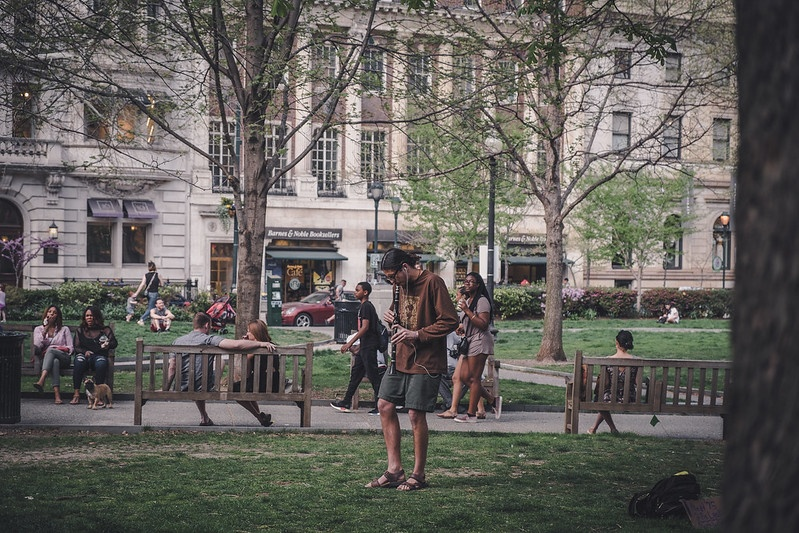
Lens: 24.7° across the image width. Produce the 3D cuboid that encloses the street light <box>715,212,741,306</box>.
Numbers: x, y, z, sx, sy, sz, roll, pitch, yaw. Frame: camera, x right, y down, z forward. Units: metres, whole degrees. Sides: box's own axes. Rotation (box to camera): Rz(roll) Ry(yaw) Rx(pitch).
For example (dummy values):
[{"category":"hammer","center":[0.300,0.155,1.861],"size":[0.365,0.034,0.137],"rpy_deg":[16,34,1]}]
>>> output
[{"category":"street light","center":[14.502,0.112,81.346],"size":[0.963,5.181,0.998],"rpy_deg":[-4,0,-19]}]

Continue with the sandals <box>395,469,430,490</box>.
[{"category":"sandals","center":[0.358,5.724,48.211],"size":[0.767,0.309,0.369],"rpy_deg":[4,-7,-14]}]

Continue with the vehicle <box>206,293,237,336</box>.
[{"category":"vehicle","center":[-6.341,1.775,64.770],"size":[0.829,0.976,1.545],"rpy_deg":[-6,21,40]}]

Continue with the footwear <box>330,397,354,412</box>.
[{"category":"footwear","center":[-1.737,4.089,53.498],"size":[0.663,0.305,0.261],"rpy_deg":[12,-4,13]}]

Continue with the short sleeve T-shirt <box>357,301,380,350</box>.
[{"category":"short sleeve T-shirt","center":[-0.941,1.783,53.107],"size":[0.628,1.632,1.338],"rpy_deg":[0,-3,13]}]

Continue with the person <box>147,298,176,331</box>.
[{"category":"person","center":[-8.620,1.948,65.067],"size":[0.828,1.436,1.111],"rpy_deg":[5,-25,-28]}]

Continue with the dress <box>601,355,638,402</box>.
[{"category":"dress","center":[6.154,3.388,51.314],"size":[1.038,1.371,0.126],"rpy_deg":[0,-43,12]}]

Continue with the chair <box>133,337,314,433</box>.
[{"category":"chair","center":[-5.082,3.233,51.812],"size":[4.966,2.598,1.651],"rpy_deg":[1,11,-6]}]

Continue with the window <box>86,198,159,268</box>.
[{"category":"window","center":[-11.959,-1.478,77.981],"size":[3.252,3.066,0.995],"rpy_deg":[0,3,-31]}]

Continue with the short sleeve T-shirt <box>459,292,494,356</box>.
[{"category":"short sleeve T-shirt","center":[2.413,1.694,52.450],"size":[1.018,1.747,1.344],"rpy_deg":[3,2,11]}]

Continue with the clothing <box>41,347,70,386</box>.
[{"category":"clothing","center":[-10.028,2.934,53.133],"size":[0.803,1.136,0.234],"rpy_deg":[1,-3,-15]}]

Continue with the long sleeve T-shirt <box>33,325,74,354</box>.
[{"category":"long sleeve T-shirt","center":[-10.214,2.238,53.616],"size":[1.267,1.176,0.753],"rpy_deg":[-1,-21,-7]}]

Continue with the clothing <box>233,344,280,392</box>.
[{"category":"clothing","center":[-3.952,2.825,51.089],"size":[0.155,1.366,1.470],"rpy_deg":[2,-6,36]}]

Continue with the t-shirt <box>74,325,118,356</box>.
[{"category":"t-shirt","center":[-8.954,2.232,53.293],"size":[1.319,1.252,0.804],"rpy_deg":[-1,-8,-19]}]
